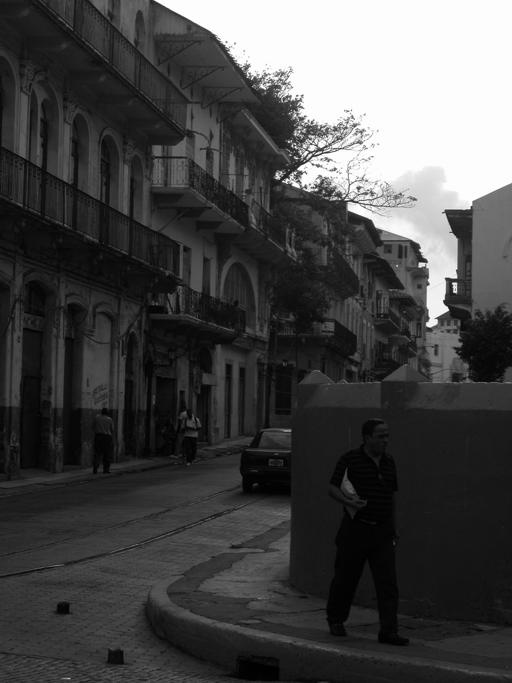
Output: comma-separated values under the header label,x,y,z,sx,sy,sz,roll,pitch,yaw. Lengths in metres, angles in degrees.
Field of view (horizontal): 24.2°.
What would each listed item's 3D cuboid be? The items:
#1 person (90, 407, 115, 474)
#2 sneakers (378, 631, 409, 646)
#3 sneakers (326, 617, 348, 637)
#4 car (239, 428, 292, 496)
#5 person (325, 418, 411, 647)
label,x,y,z,sx,sy,sz,roll,pitch,yaw
person,-3.176,2.074,24.490,0.474,1.347,0.830,-7,0,-9
sneakers,0.903,1.951,7.839,0.193,0.107,0.081,-1,-1,6
sneakers,0.560,1.946,8.064,0.057,0.083,0.179,0,-2,-14
car,0.222,2.117,21.137,0.693,0.760,1.859,2,-4,9
person,0.699,1.305,8.012,0.551,1.489,0.408,-6,0,6
